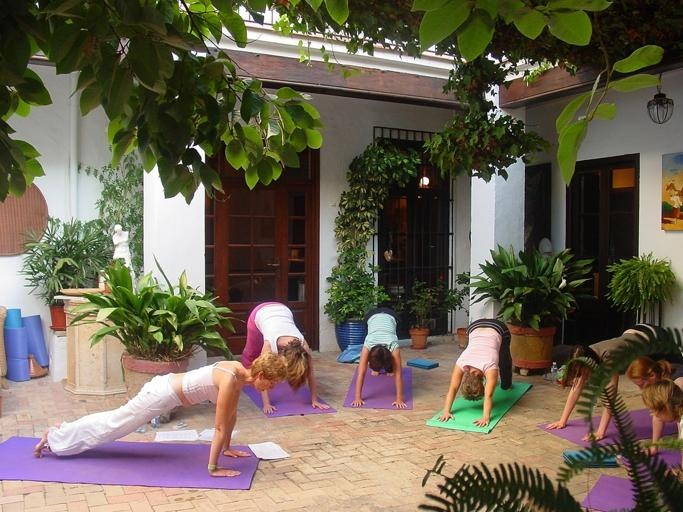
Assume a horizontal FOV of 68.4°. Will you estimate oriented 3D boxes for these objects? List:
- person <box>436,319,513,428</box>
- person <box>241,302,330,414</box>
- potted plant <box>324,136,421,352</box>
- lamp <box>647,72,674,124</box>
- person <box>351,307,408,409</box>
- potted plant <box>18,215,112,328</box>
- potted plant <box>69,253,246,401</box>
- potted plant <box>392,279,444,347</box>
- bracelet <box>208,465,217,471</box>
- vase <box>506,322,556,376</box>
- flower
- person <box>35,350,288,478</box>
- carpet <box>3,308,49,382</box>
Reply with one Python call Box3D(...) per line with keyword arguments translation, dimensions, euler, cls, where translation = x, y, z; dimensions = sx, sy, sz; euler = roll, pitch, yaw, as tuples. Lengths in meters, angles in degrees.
Box3D(translation=(1.478, 1.077, 5.441), dimensions=(0.506, 0.809, 1.493), euler=(-1, 2, 18), cls="person")
Box3D(translation=(-0.690, 1.084, 5.571), dimensions=(0.718, 0.901, 1.482), euler=(-2, 17, -23), cls="person")
Box3D(translation=(0.387, -0.157, 7.838), dimensions=(1.284, 3.268, 0.742), euler=(0, 3, -3), cls="potted plant")
Box3D(translation=(4.088, -1.994, 6.404), dimensions=(0.291, 0.605, 0.682), euler=(2, 3, 32), cls="lamp")
Box3D(translation=(0.435, 1.149, 5.828), dimensions=(0.535, 0.567, 1.719), euler=(0, 15, 5), cls="person")
Box3D(translation=(-3.724, 0.194, 7.058), dimensions=(1.201, 1.539, 1.180), euler=(1, 2, -15), cls="potted plant")
Box3D(translation=(-1.871, 0.922, 5.263), dimensions=(1.607, 1.266, 1.727), euler=(15, -19, -23), cls="potted plant")
Box3D(translation=(1.433, 1.203, 8.686), dimensions=(0.711, 1.155, 0.946), euler=(-8, -21, 38), cls="potted plant")
Box3D(translation=(-0.980, 1.593, 3.772), dimensions=(0.047, 0.033, 0.049), euler=(1, -4, -15), cls="bracelet")
Box3D(translation=(2.576, 1.205, 6.770), dimensions=(0.563, 0.641, 0.592), euler=(-1, 8, 17), cls="vase")
Box3D(translation=(2.555, 0.421, 6.819), dimensions=(1.584, 1.049, 1.204), euler=(0, 2, 6), cls="flower")
Box3D(translation=(-1.469, 1.208, 4.052), dimensions=(1.990, 0.949, 0.543), euler=(1, 16, -11), cls="person")
Box3D(translation=(-4.069, 1.141, 6.470), dimensions=(0.490, 0.849, 0.566), euler=(-2, 3, -32), cls="carpet")
